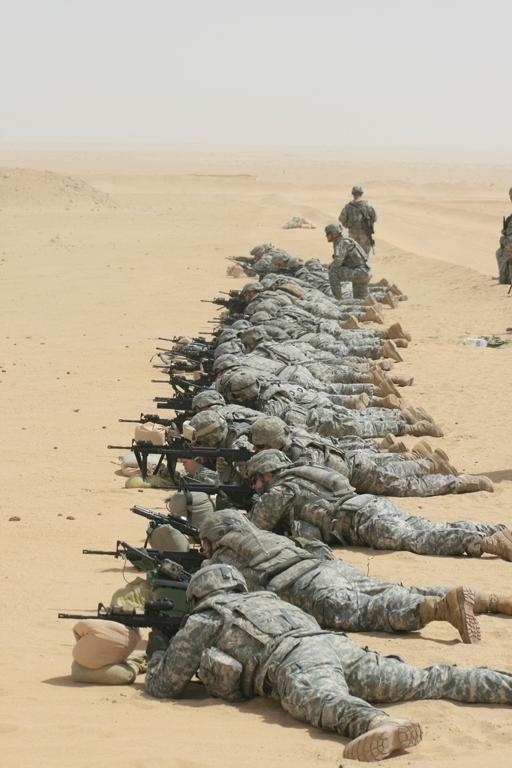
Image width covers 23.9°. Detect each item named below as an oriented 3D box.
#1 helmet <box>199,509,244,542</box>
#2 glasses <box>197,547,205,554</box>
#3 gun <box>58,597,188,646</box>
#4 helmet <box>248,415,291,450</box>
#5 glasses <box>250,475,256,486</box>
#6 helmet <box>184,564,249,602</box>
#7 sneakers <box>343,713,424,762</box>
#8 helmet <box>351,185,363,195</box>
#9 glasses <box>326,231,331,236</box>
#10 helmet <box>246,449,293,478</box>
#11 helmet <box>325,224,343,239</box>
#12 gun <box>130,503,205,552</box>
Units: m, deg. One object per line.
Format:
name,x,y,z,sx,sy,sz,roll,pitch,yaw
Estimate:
helmet,-0.206,0.957,7.984,0.319,0.200,0.276,-3,12,-19
glasses,-0.383,1.194,8.554,0.076,0.033,0.093,11,-8,-17
gun,-0.773,1.512,7.651,0.661,0.317,0.362,2,12,5
helmet,0.106,0.396,10.156,0.336,0.270,0.243,-17,30,-4
glasses,-0.004,0.776,9.623,0.068,0.060,0.065,0,-14,0
helmet,-0.227,1.234,7.311,0.243,0.226,0.301,-11,-24,-20
sneakers,0.661,1.810,5.983,0.365,0.162,0.207,-14,6,-28
helmet,2.080,-3.898,24.311,0.247,0.268,0.292,2,12,3
glasses,1.327,-2.711,21.678,0.076,0.056,0.072,-4,6,-34
helmet,0.112,0.633,9.467,0.311,0.182,0.212,-3,0,7
helmet,1.392,-2.757,21.770,0.314,0.227,0.240,7,12,26
gun,-0.701,1.122,9.287,0.477,0.413,0.595,0,12,-8
